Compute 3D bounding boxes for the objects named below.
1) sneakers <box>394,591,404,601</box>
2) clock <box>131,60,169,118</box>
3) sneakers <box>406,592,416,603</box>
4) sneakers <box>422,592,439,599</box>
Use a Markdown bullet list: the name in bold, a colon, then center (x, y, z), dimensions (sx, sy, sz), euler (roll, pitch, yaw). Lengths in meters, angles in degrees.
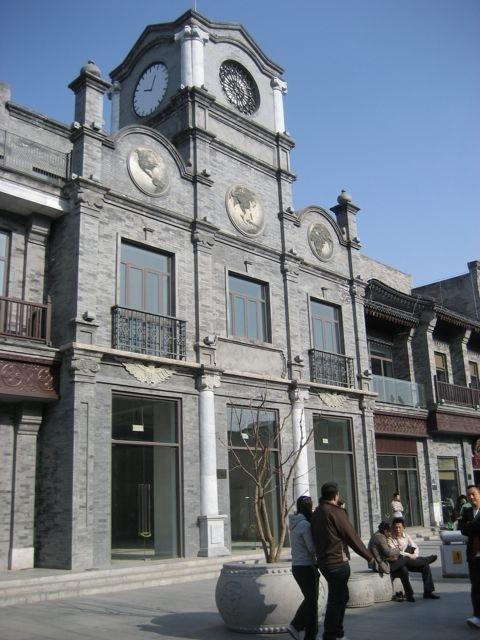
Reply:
- **sneakers**: center (2.283, 3.997, 9.156), dimensions (0.157, 0.106, 0.220), euler (-4, -16, 2)
- **clock**: center (-2.887, -7.379, 20.422), dimensions (1.865, 1.843, 0.072), euler (-21, -23, 40)
- **sneakers**: center (2.418, 3.983, 9.112), dimensions (0.128, 0.100, 0.298), euler (-7, -17, 11)
- **sneakers**: center (2.771, 4.049, 9.303), dimensions (0.298, 0.122, 0.093), euler (0, -8, -9)
